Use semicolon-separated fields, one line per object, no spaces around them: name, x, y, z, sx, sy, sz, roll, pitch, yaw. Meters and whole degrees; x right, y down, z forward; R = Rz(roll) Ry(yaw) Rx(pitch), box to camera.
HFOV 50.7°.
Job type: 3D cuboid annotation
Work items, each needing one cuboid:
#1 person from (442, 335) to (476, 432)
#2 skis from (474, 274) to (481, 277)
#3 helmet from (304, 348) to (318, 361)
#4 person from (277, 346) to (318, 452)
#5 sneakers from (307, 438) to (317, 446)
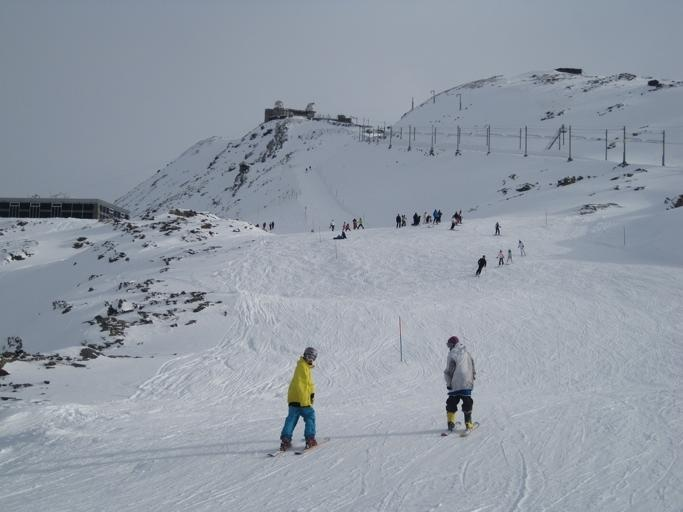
person;3.431;3.680;20.944;0.836;2.785;1.252;-2;7;9
skis;7.555;1.102;39.809;0.108;0.135;0.238;1;-1;-28
helmet;-0.847;2.726;19.932;0.373;0.340;0.333;1;-5;2
person;-1.190;3.942;20.159;1.081;2.863;0.845;-4;7;-5
sneakers;-0.835;5.189;20.064;0.222;0.088;0.225;-2;1;4
